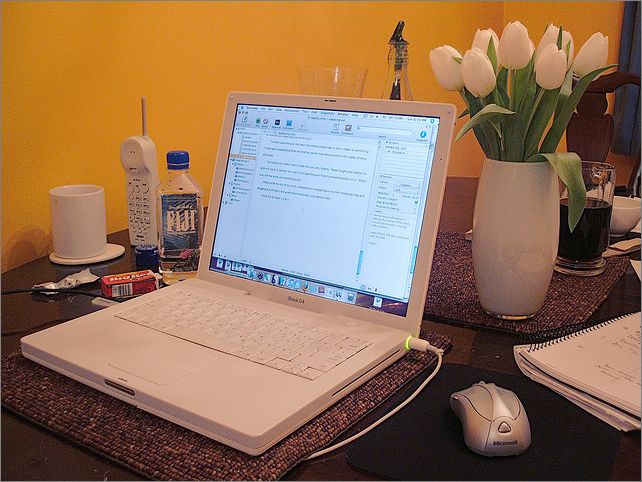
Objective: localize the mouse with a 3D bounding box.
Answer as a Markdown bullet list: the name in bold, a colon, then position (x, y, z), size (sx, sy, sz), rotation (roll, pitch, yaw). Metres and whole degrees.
- **mouse**: position (0.219, 0.224, 0.644), size (0.085, 0.059, 0.079), rotation (-1, 13, -7)

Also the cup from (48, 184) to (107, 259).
- **cup**: position (-0.526, -0.061, 1.147), size (0.148, 0.170, 0.141), rotation (4, 17, -1)

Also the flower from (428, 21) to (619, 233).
- **flower**: position (0.310, -0.218, 0.945), size (0.289, 0.374, 0.361), rotation (-7, 17, -14)
